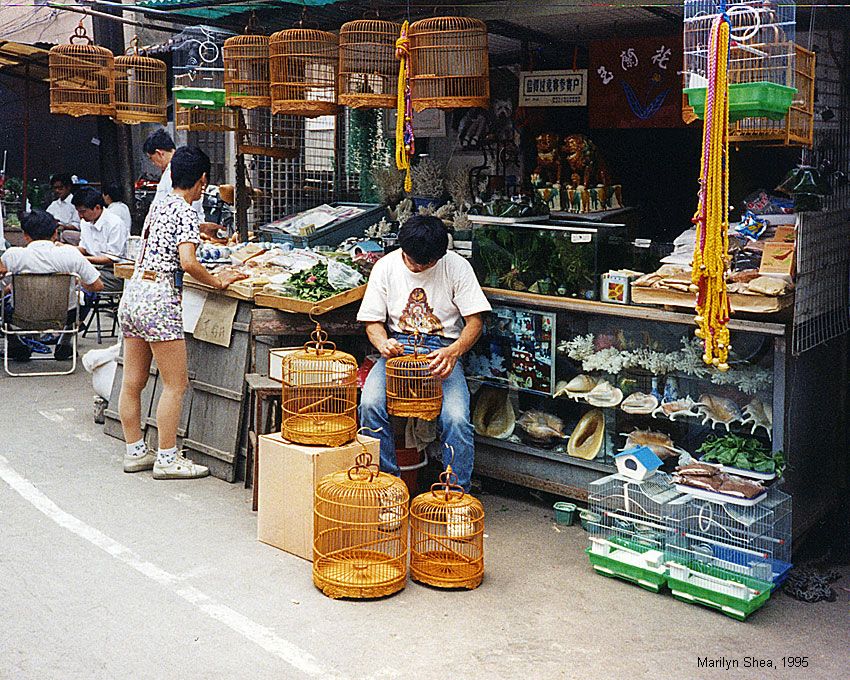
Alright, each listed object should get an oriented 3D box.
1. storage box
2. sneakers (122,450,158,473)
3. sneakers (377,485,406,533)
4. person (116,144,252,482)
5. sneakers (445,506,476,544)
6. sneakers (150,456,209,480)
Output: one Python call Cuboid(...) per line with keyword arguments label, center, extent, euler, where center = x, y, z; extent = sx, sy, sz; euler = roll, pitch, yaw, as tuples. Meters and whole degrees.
Cuboid(label="storage box", center=(-0.589, 0.882, 4.232), extent=(0.574, 0.615, 0.685), euler=(0, 4, -32))
Cuboid(label="sneakers", center=(-2.070, 0.882, 5.390), extent=(0.107, 0.118, 0.299), euler=(7, 9, 42))
Cuboid(label="sneakers", center=(-0.165, 0.847, 3.693), extent=(0.215, 0.210, 0.208), euler=(1, 1, -4))
Cuboid(label="person", center=(-1.773, -0.174, 5.141), extent=(0.791, 2.348, 0.457), euler=(1, 9, -6))
Cuboid(label="sneakers", center=(0.176, 0.916, 3.700), extent=(0.180, 0.171, 0.176), euler=(2, 7, 15))
Cuboid(label="sneakers", center=(-1.758, 0.898, 5.293), extent=(0.364, 0.131, 0.172), euler=(0, 4, -22))
